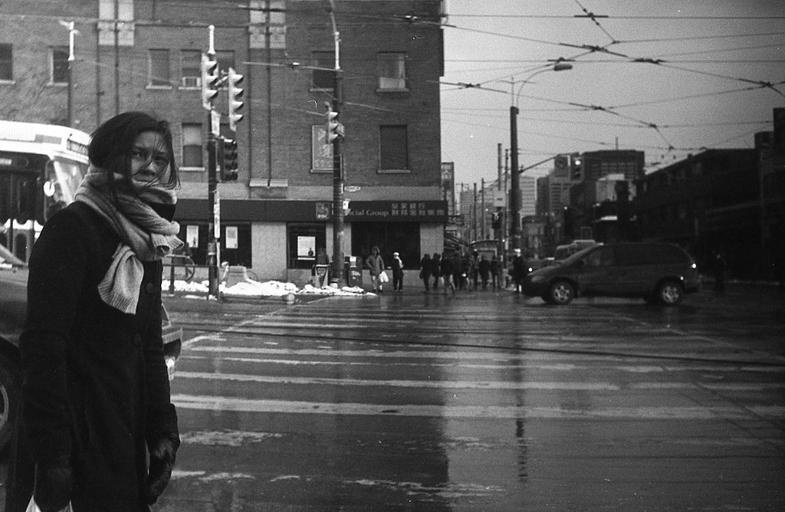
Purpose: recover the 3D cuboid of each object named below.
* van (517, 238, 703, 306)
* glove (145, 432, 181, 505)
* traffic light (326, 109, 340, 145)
[{"bbox_3d":[7.181,0.475,43.214,5.913,1.993,2.593,0,3,-1],"label":"van"},{"bbox_3d":[-4.083,3.797,23.005,0.587,1.150,0.674,0,0,-9],"label":"glove"},{"bbox_3d":[-2.103,-4.658,45.749,0.505,1.186,0.840,1,10,-3],"label":"traffic light"}]
